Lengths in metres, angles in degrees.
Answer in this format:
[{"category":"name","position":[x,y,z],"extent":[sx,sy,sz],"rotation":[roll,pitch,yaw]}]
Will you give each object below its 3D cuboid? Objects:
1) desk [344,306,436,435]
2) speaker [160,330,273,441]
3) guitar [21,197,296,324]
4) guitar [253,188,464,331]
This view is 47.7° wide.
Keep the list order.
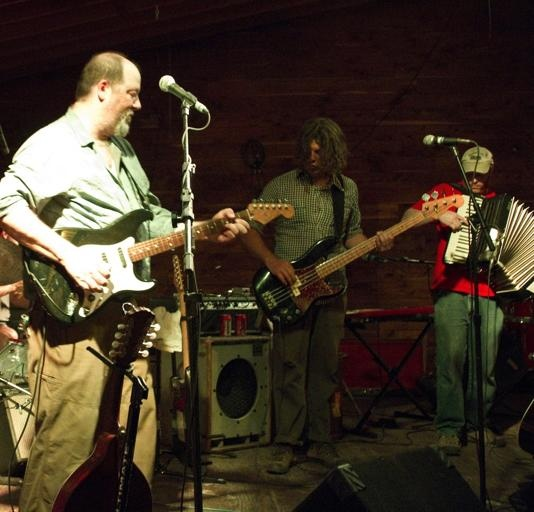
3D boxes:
[{"category":"desk","position":[1.015,0.941,4.820],"extent":[0.432,0.508,0.576],"rotation":[0,15,26]},{"category":"speaker","position":[-0.363,0.941,4.214],"extent":[0.701,0.693,0.702],"rotation":[4,-9,-23]},{"category":"guitar","position":[-0.531,0.034,3.173],"extent":[1.159,0.350,0.165],"rotation":[-17,-1,-43]},{"category":"guitar","position":[0.536,-0.009,3.731],"extent":[1.479,0.434,0.174],"rotation":[-31,9,26]}]
